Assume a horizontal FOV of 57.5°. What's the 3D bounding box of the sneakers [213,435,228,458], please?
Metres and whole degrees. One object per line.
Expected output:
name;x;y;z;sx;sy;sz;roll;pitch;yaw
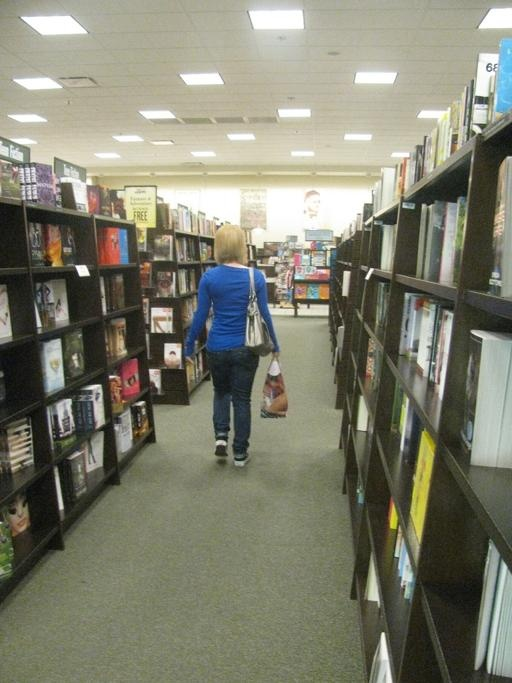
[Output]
sneakers;-0.262;0.781;3.416;0.068;0.091;0.184;1;5;1

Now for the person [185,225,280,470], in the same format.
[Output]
person;-0.170;0.054;3.203;0.595;1.671;0.365;2;8;19

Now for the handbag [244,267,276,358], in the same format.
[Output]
handbag;0.024;-0.187;3.079;0.181;0.584;0.241;0;7;4

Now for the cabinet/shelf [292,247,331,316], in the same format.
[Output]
cabinet/shelf;1.509;-1.719;12.910;0.987;1.953;1.319;1;7;6
